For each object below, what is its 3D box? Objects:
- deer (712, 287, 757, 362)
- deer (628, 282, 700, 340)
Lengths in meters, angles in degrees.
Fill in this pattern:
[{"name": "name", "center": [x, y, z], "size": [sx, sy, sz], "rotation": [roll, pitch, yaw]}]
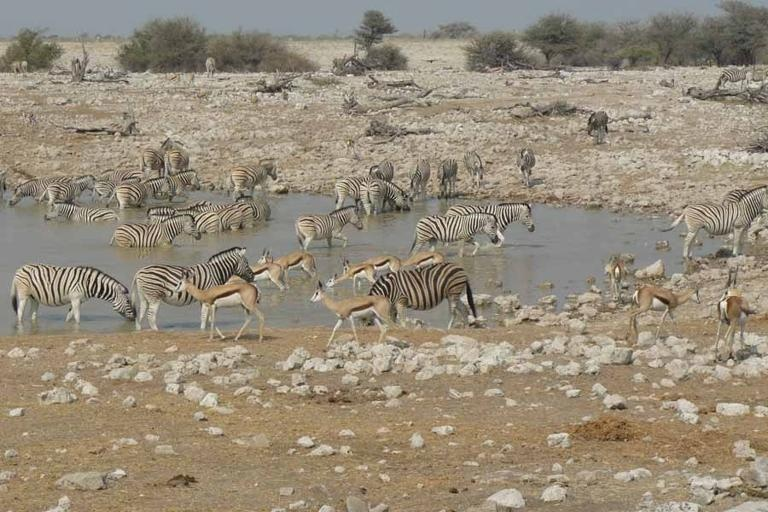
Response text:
[{"name": "deer", "center": [7.104, 1.332, 24.487], "size": [0.638, 1.303, 2.176], "rotation": [2, 6, 15]}, {"name": "deer", "center": [5.865, 1.149, 24.644], "size": [0.475, 1.118, 1.645], "rotation": [15, -8, -38]}]
